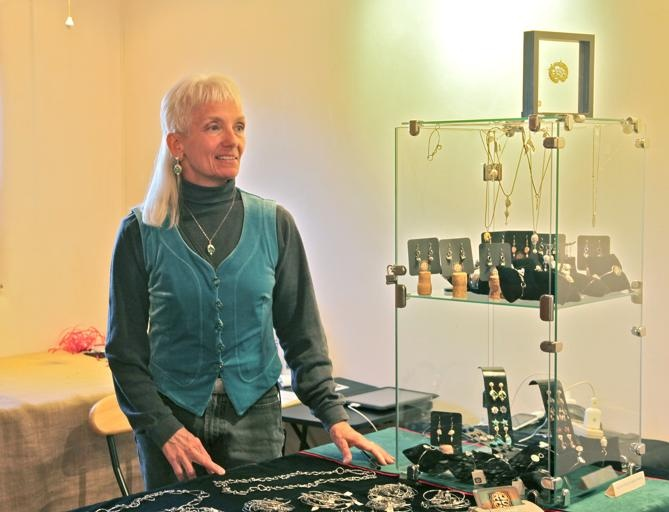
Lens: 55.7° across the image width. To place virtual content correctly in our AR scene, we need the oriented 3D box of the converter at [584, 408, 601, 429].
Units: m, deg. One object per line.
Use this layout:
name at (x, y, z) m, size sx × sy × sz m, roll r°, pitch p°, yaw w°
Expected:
converter at (0.804, 0.505, 1.978) m, size 0.066 × 0.097 × 0.029 m, roll 0°, pitch 0°, yaw -38°

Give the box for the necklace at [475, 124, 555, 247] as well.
necklace at (0.585, -0.232, 2.025) m, size 0.138 × 0.460 × 0.357 m, roll -1°, pitch 2°, yaw -38°

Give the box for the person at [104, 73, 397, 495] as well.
person at (-0.321, 0.174, 2.177) m, size 0.732 × 1.616 × 0.712 m, roll -1°, pitch 7°, yaw -33°

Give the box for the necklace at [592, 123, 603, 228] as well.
necklace at (0.821, -0.247, 1.993) m, size 0.020 × 0.303 × 0.067 m, roll 0°, pitch -2°, yaw 39°

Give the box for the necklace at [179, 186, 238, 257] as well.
necklace at (-0.430, -0.109, 2.102) m, size 0.209 × 0.231 × 0.015 m, roll -1°, pitch -2°, yaw -33°

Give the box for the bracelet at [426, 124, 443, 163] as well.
bracelet at (0.336, -0.389, 2.121) m, size 0.044 × 0.097 × 0.091 m, roll 1°, pitch 10°, yaw 12°

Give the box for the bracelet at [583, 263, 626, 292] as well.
bracelet at (0.894, 0.076, 2.058) m, size 0.087 × 0.078 × 0.147 m, roll -1°, pitch -4°, yaw 31°
